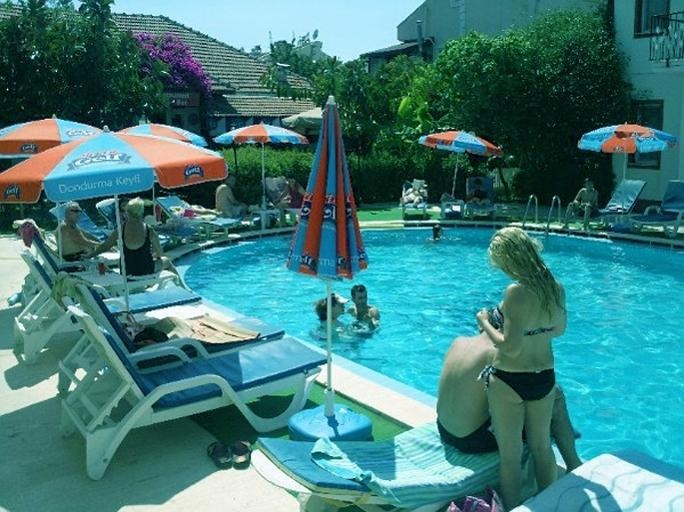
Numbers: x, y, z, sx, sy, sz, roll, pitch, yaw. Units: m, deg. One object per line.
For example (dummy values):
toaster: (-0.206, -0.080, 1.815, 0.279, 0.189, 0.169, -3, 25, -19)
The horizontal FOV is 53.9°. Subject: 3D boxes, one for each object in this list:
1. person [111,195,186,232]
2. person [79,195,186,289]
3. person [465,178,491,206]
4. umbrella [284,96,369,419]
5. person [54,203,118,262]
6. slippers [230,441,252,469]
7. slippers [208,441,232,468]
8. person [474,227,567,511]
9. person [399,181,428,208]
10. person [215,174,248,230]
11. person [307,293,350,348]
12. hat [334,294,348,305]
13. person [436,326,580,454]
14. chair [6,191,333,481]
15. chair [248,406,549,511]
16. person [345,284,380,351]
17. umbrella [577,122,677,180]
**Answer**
person: (-4.235, -0.931, 15.007, 1.440, 0.485, 1.058, 14, 22, 15)
person: (-3.550, -0.160, 11.709, 1.636, 1.598, 0.861, 1, 7, -27)
person: (4.487, -2.075, 21.980, 0.788, 1.087, 0.939, 0, -9, 2)
umbrella: (-0.172, -0.697, 7.161, 0.823, 1.933, 0.581, -2, 15, -2)
person: (-4.427, -0.469, 12.008, 1.190, 1.295, 0.891, -4, 17, -18)
slippers: (-1.107, 2.169, 7.387, 0.196, 0.128, 0.256, -6, 28, -20)
slippers: (-1.343, 2.174, 7.395, 0.243, 0.146, 0.360, -7, 16, -19)
person: (1.691, 1.087, 6.377, 0.752, 2.530, 0.624, -1, 15, 3)
person: (2.486, -2.059, 23.041, 0.715, 0.660, 1.246, 9, 55, 11)
person: (-3.251, -1.586, 19.599, 0.676, 1.511, 0.866, 14, 22, 41)
person: (-0.218, 1.090, 10.993, 0.566, 0.840, 0.728, -16, 25, -23)
hat: (-0.011, 0.714, 10.764, 0.268, 0.093, 0.172, 8, 10, -11)
person: (1.709, 1.355, 6.574, 1.306, 1.389, 0.966, -5, 11, -21)
chair: (-1.846, 0.726, 7.799, 2.294, 1.514, 2.460, -10, 22, -29)
chair: (0.365, 2.000, 6.359, 1.860, 0.589, 1.169, -7, 11, -17)
person: (0.360, 1.001, 11.630, 0.710, 1.233, 0.870, -1, -3, 0)
umbrella: (7.956, -3.068, 18.658, 1.494, 1.022, 1.532, 5, 22, 31)
